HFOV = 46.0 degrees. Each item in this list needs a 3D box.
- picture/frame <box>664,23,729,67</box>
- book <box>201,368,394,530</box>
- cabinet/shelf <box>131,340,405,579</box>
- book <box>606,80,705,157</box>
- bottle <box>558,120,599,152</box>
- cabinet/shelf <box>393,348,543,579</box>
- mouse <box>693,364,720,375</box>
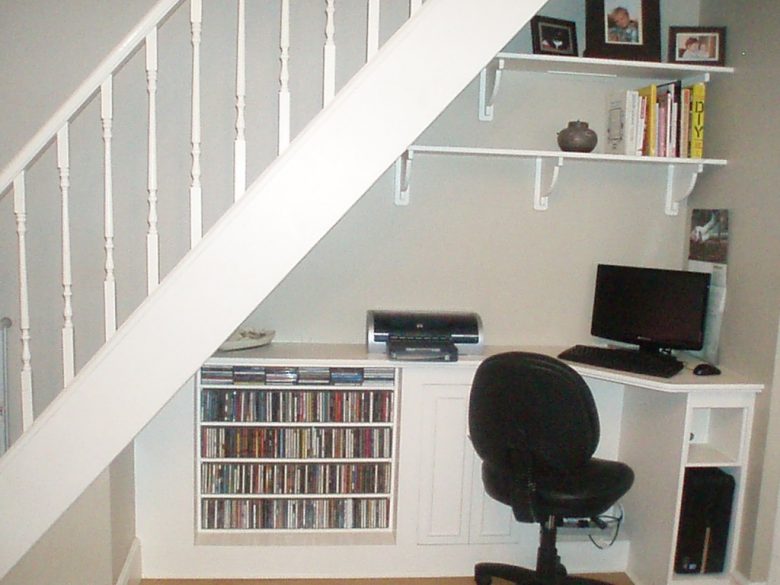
[{"bbox_3d":[1.455,-1.164,4.336,0.227,0.194,0.018,2,-6,8],"label":"picture/frame"},{"bbox_3d":[-0.472,0.706,4.344,0.672,0.658,0.257,0,7,-2],"label":"book"},{"bbox_3d":[-0.601,0.766,4.260,0.979,0.917,0.348,-1,7,-5],"label":"cabinet/shelf"},{"bbox_3d":[1.232,-0.781,4.474,0.332,0.474,0.448,-1,9,-31],"label":"book"},{"bbox_3d":[0.886,-0.727,4.334,0.150,0.129,0.154,-1,8,-2],"label":"bottle"},{"bbox_3d":[0.361,0.701,5.028,0.748,1.660,1.085,0,4,2],"label":"cabinet/shelf"},{"bbox_3d":[1.445,0.352,4.188,0.116,0.036,0.110,1,-1,19],"label":"mouse"}]
